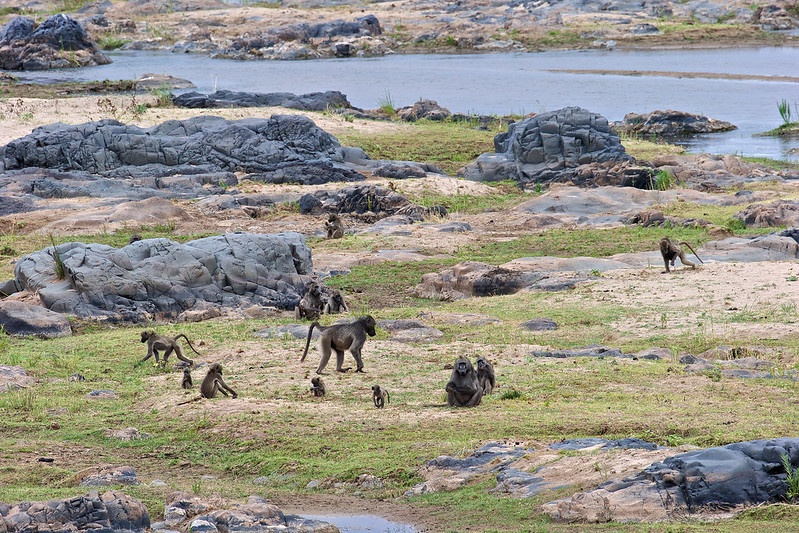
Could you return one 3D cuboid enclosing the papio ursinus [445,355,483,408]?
[{"bbox_3d":[2.674,4.516,72.880,1.437,1.947,0.530,-3,7,1],"label":"papio ursinus"}]

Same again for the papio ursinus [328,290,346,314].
[{"bbox_3d":[-2.556,1.445,79.190,1.070,0.955,0.595,-7,7,-40],"label":"papio ursinus"}]

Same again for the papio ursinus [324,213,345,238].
[{"bbox_3d":[-2.986,-2.047,86.738,0.806,1.215,1.018,-3,6,-1],"label":"papio ursinus"}]
